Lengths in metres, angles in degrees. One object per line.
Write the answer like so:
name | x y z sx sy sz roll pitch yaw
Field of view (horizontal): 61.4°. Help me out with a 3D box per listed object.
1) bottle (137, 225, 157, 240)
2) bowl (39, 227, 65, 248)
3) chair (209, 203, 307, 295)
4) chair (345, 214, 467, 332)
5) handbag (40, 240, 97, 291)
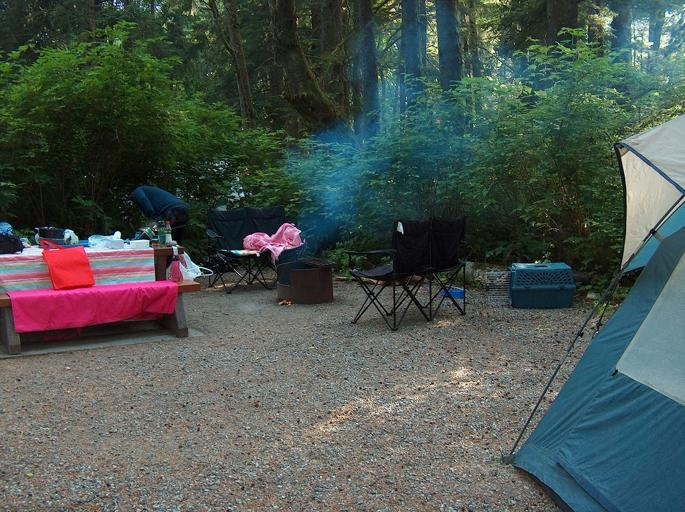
bottle | -2.178 -0.260 6.428 0.216 0.133 0.335 -4 13 -17
bowl | -2.945 -0.186 5.864 0.232 0.143 0.217 2 -3 0
chair | -1.440 -0.100 9.179 1.602 1.126 1.511 -1 -1 -29
chair | 0.796 0.241 6.918 1.602 1.063 0.843 -2 6 -45
handbag | -2.649 0.095 5.562 0.386 0.441 0.165 -5 -11 -31
